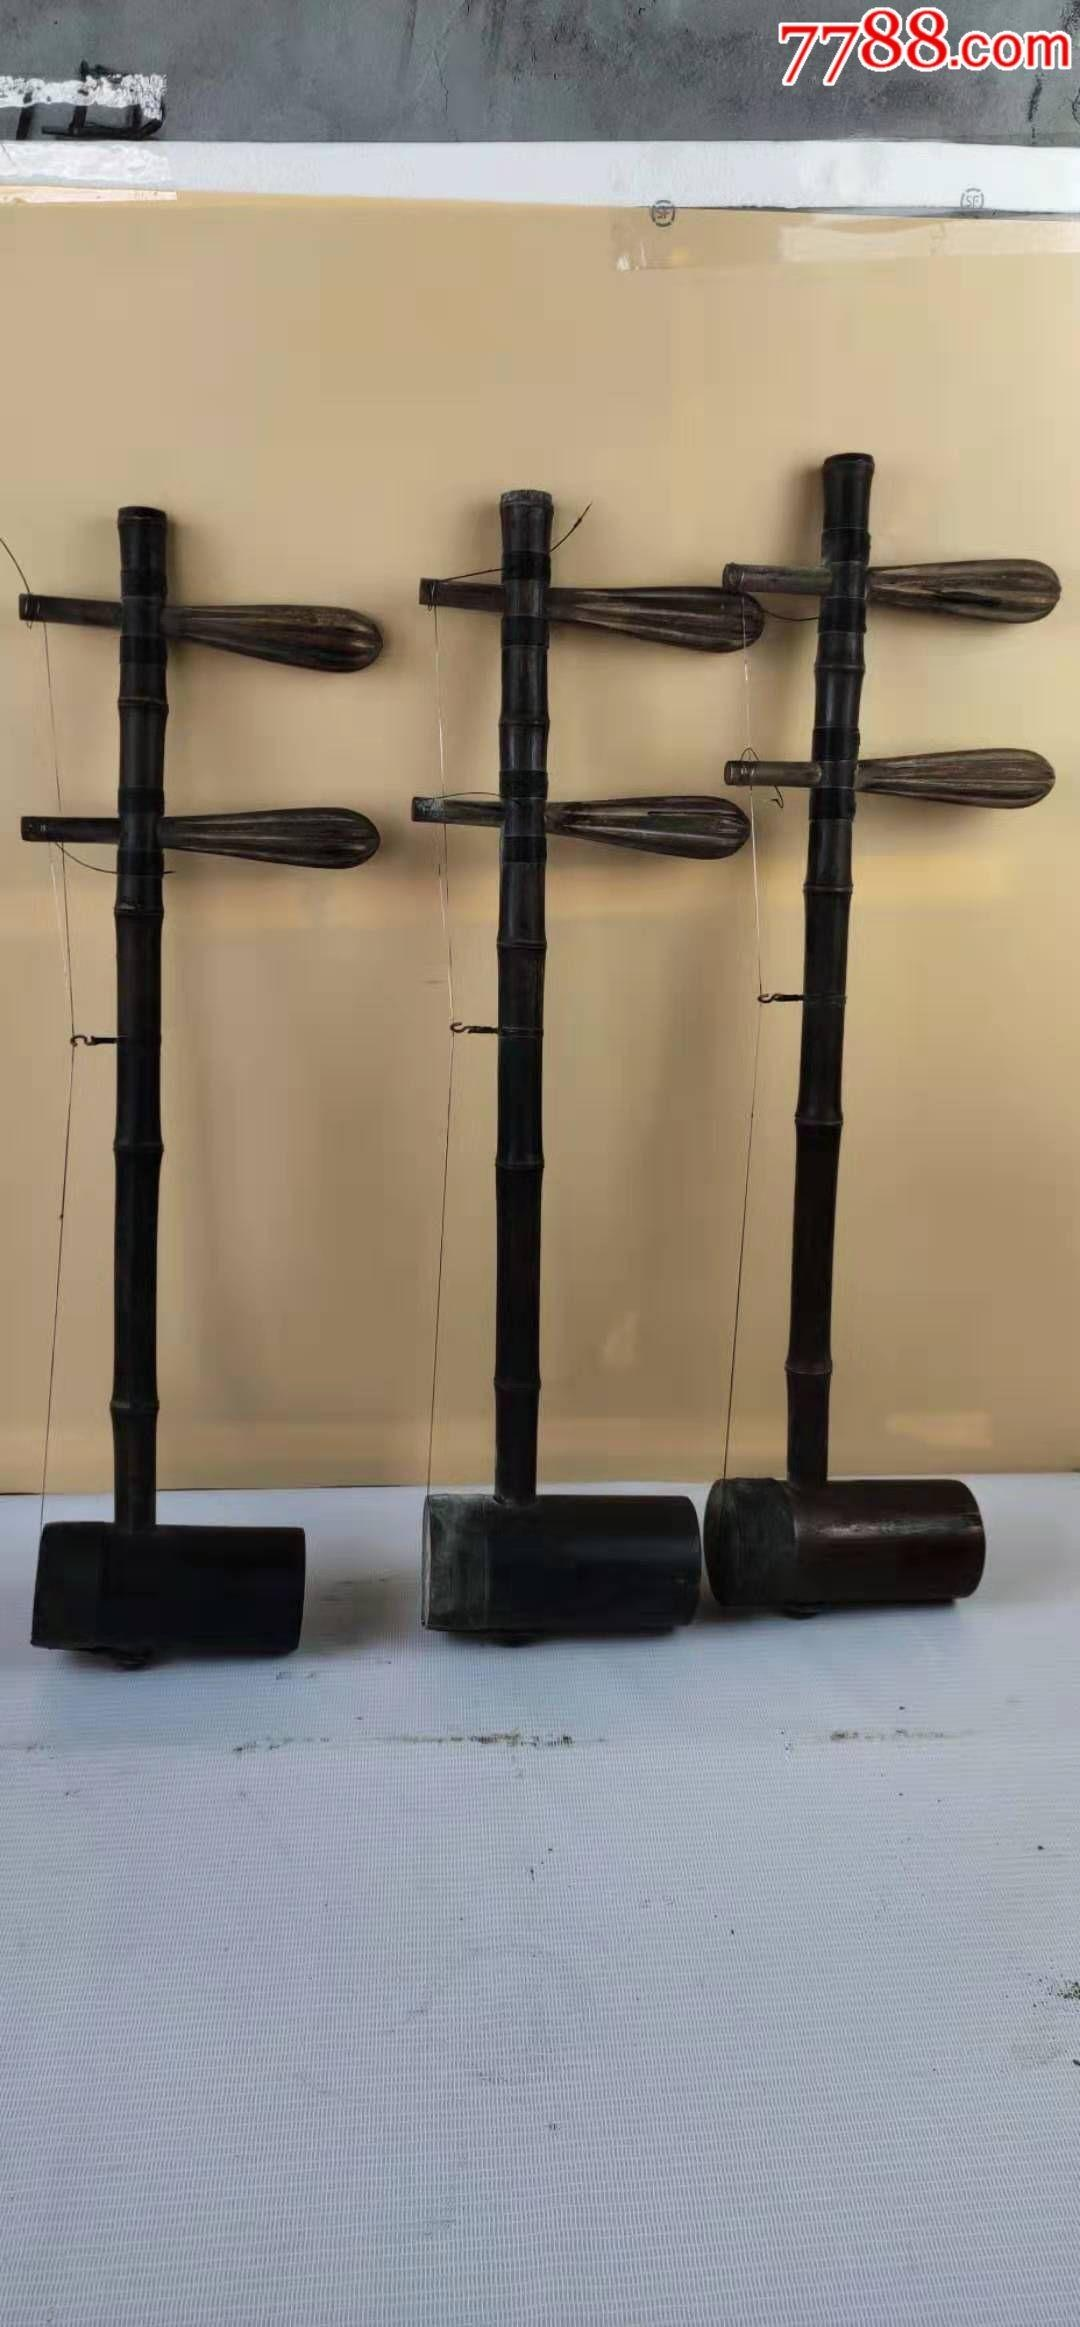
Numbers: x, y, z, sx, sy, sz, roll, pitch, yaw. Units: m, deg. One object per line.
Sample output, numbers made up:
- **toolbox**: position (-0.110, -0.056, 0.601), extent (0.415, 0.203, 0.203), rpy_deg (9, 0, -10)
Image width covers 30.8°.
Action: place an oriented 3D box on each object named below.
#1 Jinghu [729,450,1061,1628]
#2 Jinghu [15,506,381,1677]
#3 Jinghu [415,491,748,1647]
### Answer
- **Jinghu**: position (0.373, -0.144, 2.184), extent (0.389, 1.224, 0.483), rpy_deg (3, 15, 4)
- **Jinghu**: position (-0.389, -0.101, 2.098), extent (0.391, 1.141, 0.509), rpy_deg (2, 15, -1)
- **Jinghu**: position (0.022, -0.119, 2.133), extent (0.375, 1.161, 0.514), rpy_deg (4, 15, 5)
